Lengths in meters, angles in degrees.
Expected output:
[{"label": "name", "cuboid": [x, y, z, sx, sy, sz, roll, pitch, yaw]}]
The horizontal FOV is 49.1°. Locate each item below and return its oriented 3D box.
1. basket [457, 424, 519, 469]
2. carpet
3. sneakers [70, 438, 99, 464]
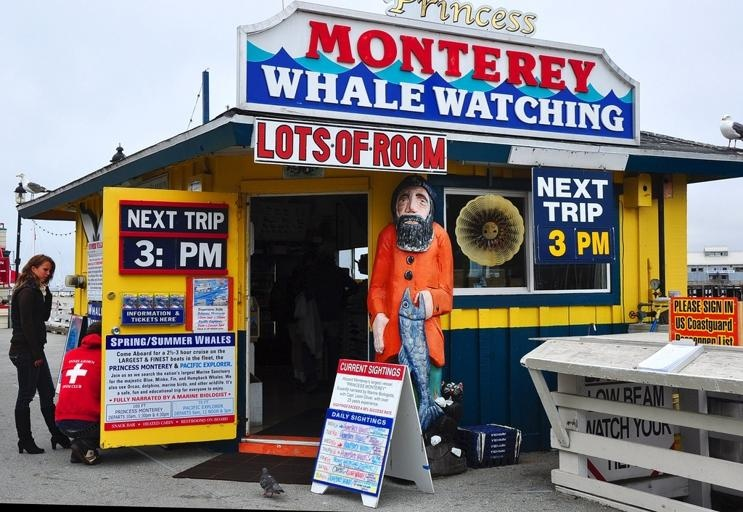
[{"label": "basket", "cuboid": [1.424, 2.286, 9.660, 0.568, 0.342, 0.478, 2, -5, -32]}, {"label": "carpet", "cuboid": [-1.403, 2.450, 9.338, 1.490, 0.041, 0.947, 1, 6, 2]}, {"label": "sneakers", "cuboid": [-3.345, 2.301, 9.482, 0.456, 0.200, 0.170, -2, -16, 41]}]
